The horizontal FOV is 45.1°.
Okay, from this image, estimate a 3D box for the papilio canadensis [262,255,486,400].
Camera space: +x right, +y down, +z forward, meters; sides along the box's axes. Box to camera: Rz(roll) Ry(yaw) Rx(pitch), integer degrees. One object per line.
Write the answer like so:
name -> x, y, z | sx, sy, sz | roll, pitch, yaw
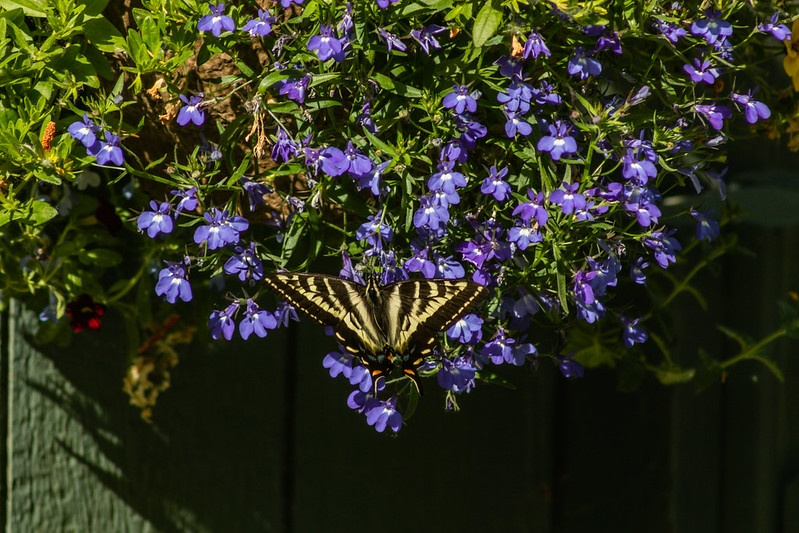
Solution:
papilio canadensis -> -0.049, 0.159, 2.706 | 0.392, 0.336, 0.049 | 2, 23, 4
